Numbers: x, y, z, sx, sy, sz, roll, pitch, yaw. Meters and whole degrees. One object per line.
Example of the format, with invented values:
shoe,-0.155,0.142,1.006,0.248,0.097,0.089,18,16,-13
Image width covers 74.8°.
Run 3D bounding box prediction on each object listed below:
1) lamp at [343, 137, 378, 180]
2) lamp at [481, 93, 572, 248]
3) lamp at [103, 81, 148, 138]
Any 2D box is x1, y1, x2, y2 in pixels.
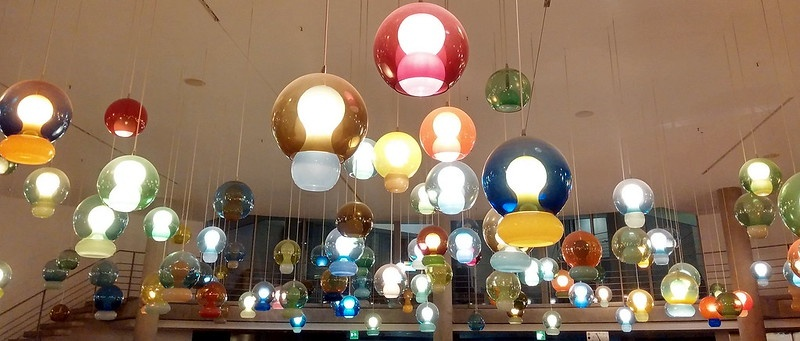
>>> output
lamp,-0.976,-0.305,13.452,1.108,1.047,0.993,-3,-10,5
lamp,2.822,0.336,11.659,1.862,2.520,0.869,-6,-21,10
lamp,-7.643,-1.550,14.240,1.282,1.422,1.153,4,-12,-9
